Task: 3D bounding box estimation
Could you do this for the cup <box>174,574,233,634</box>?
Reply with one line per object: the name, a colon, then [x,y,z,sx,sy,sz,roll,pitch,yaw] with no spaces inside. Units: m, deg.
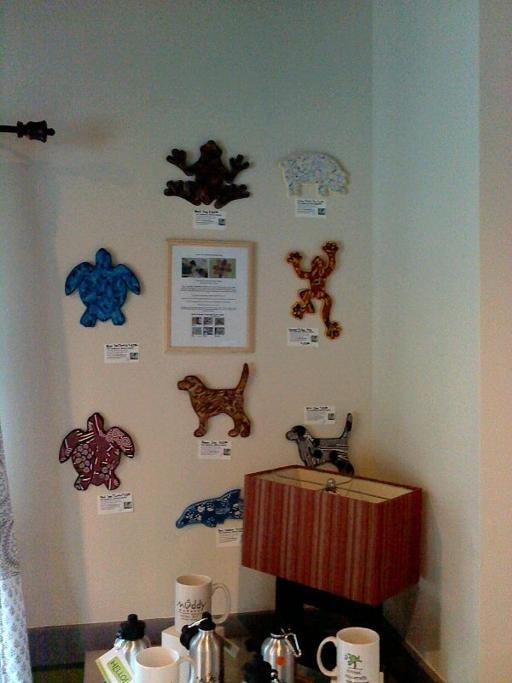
cup: [-0.166,0.699,1.879,0.202,0.151,0.109,8,-13,-22]
